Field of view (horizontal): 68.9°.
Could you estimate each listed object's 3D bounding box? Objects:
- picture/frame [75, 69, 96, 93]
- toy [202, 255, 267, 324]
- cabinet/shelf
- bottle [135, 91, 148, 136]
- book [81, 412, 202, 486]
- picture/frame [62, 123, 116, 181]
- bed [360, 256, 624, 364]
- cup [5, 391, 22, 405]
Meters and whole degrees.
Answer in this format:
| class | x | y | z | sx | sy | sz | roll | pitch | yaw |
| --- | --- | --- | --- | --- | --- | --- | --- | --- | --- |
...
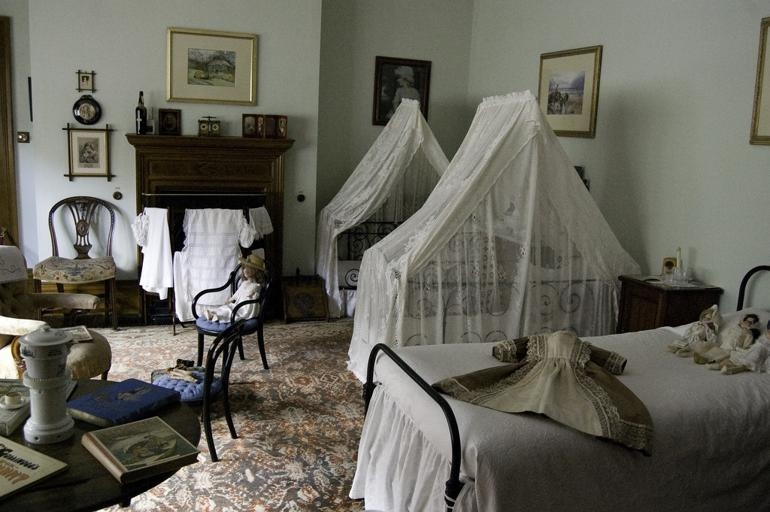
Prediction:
| class | x | y | z | sx | sy | sz | roll | pitch | yaw |
| --- | --- | --- | --- | --- | --- | --- | --- | --- | --- |
| picture/frame | -3.016 | -1.776 | 5.668 | 0.219 | 0.257 | 0.021 | 0 | 8 | -21 |
| toy | -1.273 | 0.262 | 4.940 | 0.585 | 0.697 | 0.507 | 0 | 5 | -14 |
| cabinet/shelf | -1.858 | -0.317 | 5.734 | 1.846 | 2.505 | 0.544 | -2 | 7 | -21 |
| bottle | -2.482 | -1.469 | 5.753 | 0.116 | 0.468 | 0.205 | -2 | 7 | -24 |
| book | -1.143 | 0.894 | 2.638 | 0.315 | 0.066 | 0.306 | -3 | 16 | -37 |
| picture/frame | -3.044 | -1.091 | 5.760 | 0.554 | 0.693 | 0.069 | 0 | 7 | -19 |
| bed | 0.810 | 0.216 | 4.966 | 1.436 | 0.920 | 1.036 | -3 | 11 | -14 |
| cup | -1.873 | 0.719 | 2.849 | 0.055 | 0.044 | 0.057 | 2 | 7 | 0 |
